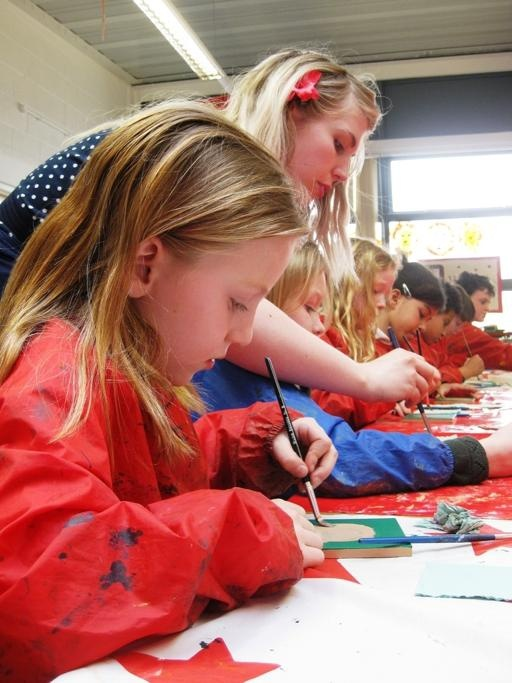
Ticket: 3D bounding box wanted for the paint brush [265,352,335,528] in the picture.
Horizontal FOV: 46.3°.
[{"bbox_3d":[0.035,0.093,0.815,0.035,0.316,0.038,-34,-31,27],"label":"paint brush"}]
